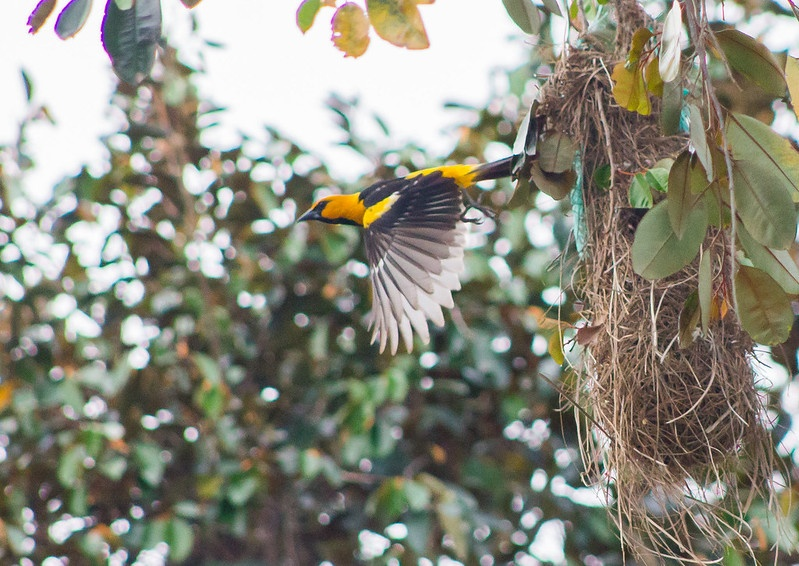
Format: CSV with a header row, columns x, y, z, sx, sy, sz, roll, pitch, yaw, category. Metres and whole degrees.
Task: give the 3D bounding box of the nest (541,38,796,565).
x,y,z,sx,sy,sz,roll,pitch,yaw,category
0.941,0.172,5.463,0.732,1.907,1.380,-10,-26,5,nest
